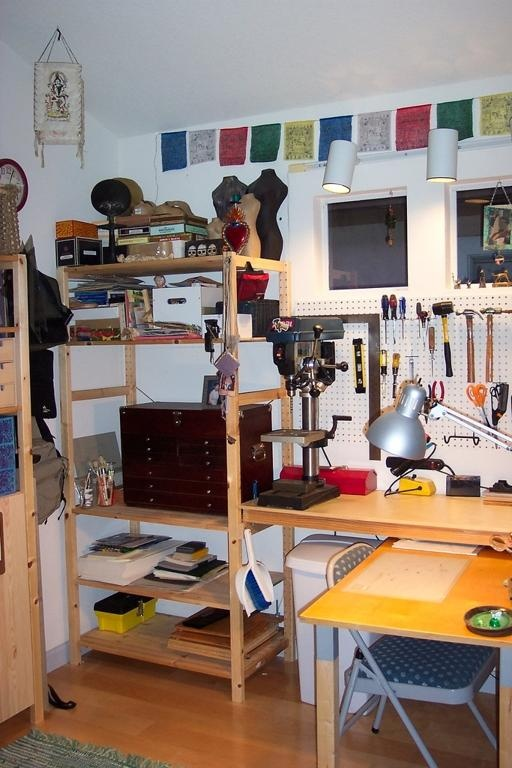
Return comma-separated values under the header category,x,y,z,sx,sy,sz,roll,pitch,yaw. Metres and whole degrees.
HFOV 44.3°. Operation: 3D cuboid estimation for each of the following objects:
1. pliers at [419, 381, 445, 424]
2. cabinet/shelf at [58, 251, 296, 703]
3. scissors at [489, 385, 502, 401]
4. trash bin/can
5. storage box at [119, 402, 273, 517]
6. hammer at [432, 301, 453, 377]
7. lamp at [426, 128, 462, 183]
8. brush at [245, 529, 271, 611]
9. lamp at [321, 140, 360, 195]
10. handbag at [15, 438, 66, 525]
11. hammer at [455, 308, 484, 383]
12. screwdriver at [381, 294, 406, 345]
category,x,y,z,sx,sy,sz,roll,pitch,yaw
pliers,0.565,0.052,2.015,0.088,0.169,0.048,-2,-14,39
cabinet/shelf,-0.239,0.382,3.069,1.184,1.894,0.740,5,7,32
scissors,0.970,0.029,2.553,0.014,0.047,0.046,4,2,-13
trash bin/can,0.235,0.973,2.635,0.392,0.671,0.542,-1,0,29
storage box,-0.259,0.313,3.031,0.543,0.508,0.655,-1,0,20
hammer,0.771,-0.187,2.591,0.083,0.315,0.130,-2,-2,18
lamp,0.676,-0.839,2.300,0.101,0.183,0.090,-3,-2,31
brush,0.005,0.751,2.550,0.043,0.304,0.175,-12,-1,27
lamp,0.319,-0.871,2.483,0.132,0.220,0.163,-2,-2,-5
handbag,-0.985,0.441,2.873,0.179,0.353,0.118,7,7,31
hammer,0.869,-0.183,2.570,0.097,0.251,0.037,2,21,27
screwdriver,0.590,-0.278,2.709,0.112,0.206,0.090,-2,-2,17
